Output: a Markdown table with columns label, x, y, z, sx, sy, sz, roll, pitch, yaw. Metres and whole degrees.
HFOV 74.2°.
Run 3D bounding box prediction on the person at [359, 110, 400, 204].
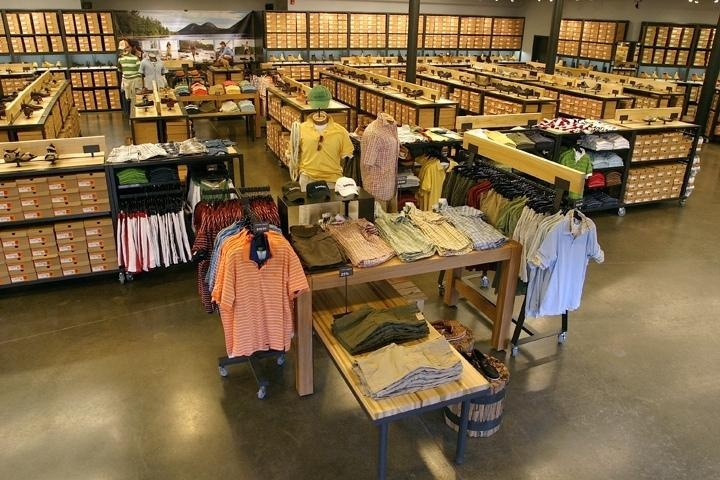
| label | x | y | z | sx | sy | sz | roll | pitch | yaw |
| --- | --- | --- | --- | --- | --- | --- | --- | --- | --- |
| person | 0.272 | -1.100 | 6.695 | 0.584 | 1.324 | 0.394 | -23 | 29 | -39 |

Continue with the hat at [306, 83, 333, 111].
| label | x | y | z | sx | sy | sz | roll | pitch | yaw |
| --- | --- | --- | --- | --- | --- | --- | --- | --- | --- |
| hat | -0.646 | -2.212 | 7.521 | 0.456 | 0.203 | 0.565 | -2 | 41 | -4 |

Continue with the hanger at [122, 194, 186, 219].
| label | x | y | z | sx | sy | sz | roll | pitch | yaw |
| --- | --- | --- | --- | --- | --- | --- | --- | --- | --- |
| hanger | -2.842 | -0.474 | 6.460 | 0.814 | 0.203 | 0.468 | -9 | 21 | -17 |

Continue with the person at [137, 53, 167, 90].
| label | x | y | z | sx | sy | sz | roll | pitch | yaw |
| --- | --- | --- | --- | --- | --- | --- | --- | --- | --- |
| person | -5.426 | -4.424 | 12.476 | 0.685 | 1.051 | 0.333 | -7 | 58 | -22 |

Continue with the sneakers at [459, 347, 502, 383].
| label | x | y | z | sx | sy | sz | roll | pitch | yaw |
| --- | --- | --- | --- | --- | --- | --- | --- | --- | --- |
| sneakers | 1.175 | 1.208 | 4.719 | 0.164 | 0.140 | 0.474 | 0 | 28 | -47 |

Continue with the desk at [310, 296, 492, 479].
| label | x | y | z | sx | sy | sz | roll | pitch | yaw |
| --- | --- | --- | --- | --- | --- | --- | --- | --- | --- |
| desk | 0.238 | 1.297 | 4.651 | 1.149 | 0.740 | 1.637 | -10 | 22 | -21 |

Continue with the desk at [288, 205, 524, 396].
| label | x | y | z | sx | sy | sz | roll | pitch | yaw |
| --- | --- | --- | --- | --- | --- | --- | --- | --- | --- |
| desk | 0.334 | 0.604 | 5.534 | 2.900 | 1.259 | 1.256 | -6 | 21 | -31 |
